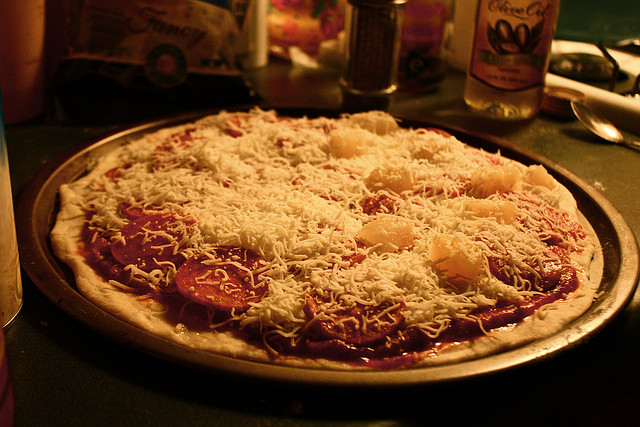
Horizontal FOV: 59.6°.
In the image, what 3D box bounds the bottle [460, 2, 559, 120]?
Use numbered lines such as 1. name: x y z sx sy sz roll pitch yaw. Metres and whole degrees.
1. bottle: 0.556 -0.452 1.639 0.256 0.363 0.199 13 42 13
